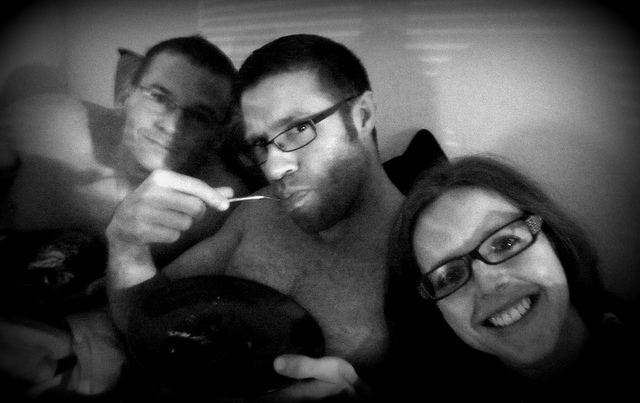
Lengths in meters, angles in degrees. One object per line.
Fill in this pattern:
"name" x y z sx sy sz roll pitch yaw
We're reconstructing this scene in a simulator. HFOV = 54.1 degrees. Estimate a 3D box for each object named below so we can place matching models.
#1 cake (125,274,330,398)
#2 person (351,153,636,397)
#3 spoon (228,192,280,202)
"cake" -0.413 0.595 2.766 0.904 0.154 0.522 -1 70 2
"person" 0.828 0.346 2.630 1.074 0.374 1.039 10 71 6
"spoon" -0.287 -0.017 2.789 0.179 0.026 0.021 5 105 8
